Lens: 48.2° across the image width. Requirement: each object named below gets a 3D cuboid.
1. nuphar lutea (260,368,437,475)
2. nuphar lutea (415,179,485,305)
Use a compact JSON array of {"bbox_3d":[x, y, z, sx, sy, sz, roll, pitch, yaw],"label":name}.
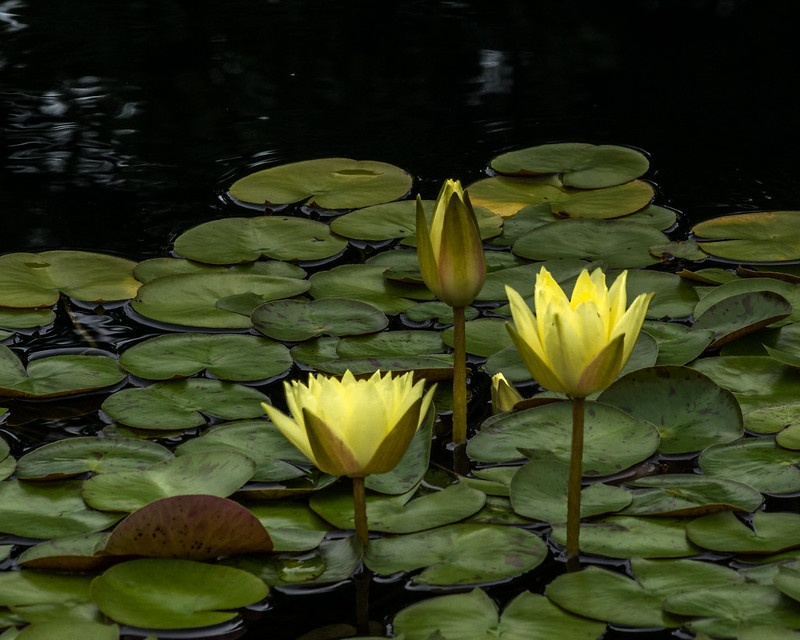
[{"bbox_3d":[-0.078,0.175,1.623,0.372,0.098,0.235,-2,5,-11],"label":"nuphar lutea"},{"bbox_3d":[0.100,-0.146,1.871,0.100,0.244,0.122,-14,19,-25],"label":"nuphar lutea"}]
